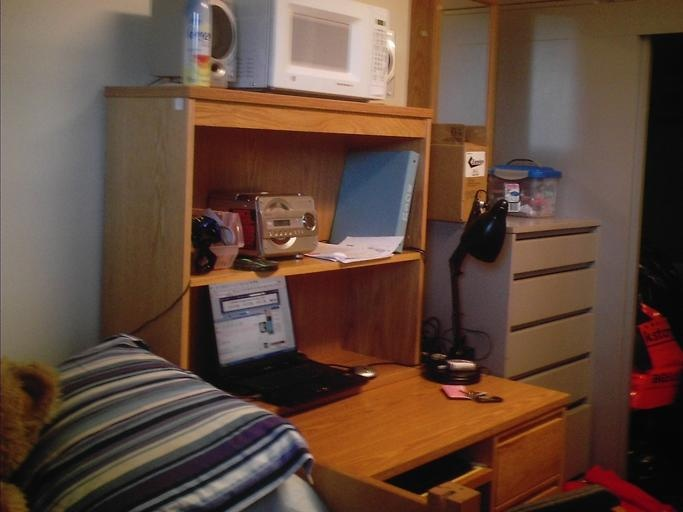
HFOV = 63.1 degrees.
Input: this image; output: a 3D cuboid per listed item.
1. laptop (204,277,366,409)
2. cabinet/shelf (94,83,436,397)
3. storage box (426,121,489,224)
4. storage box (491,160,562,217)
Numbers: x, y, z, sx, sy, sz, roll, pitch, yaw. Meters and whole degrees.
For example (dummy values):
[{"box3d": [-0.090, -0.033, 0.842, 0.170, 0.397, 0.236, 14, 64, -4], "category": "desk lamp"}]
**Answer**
[{"box3d": [-0.163, 0.256, 1.745, 0.443, 0.281, 0.449, -1, 8, -35], "category": "laptop"}, {"box3d": [-0.146, -0.020, 1.873, 0.342, 0.964, 1.058, 7, 11, 43], "category": "cabinet/shelf"}, {"box3d": [0.467, -0.335, 2.277, 0.222, 0.352, 0.213, -9, 15, -41], "category": "storage box"}, {"box3d": [0.858, -0.309, 2.643, 0.229, 0.252, 0.303, 2, 5, -23], "category": "storage box"}]
